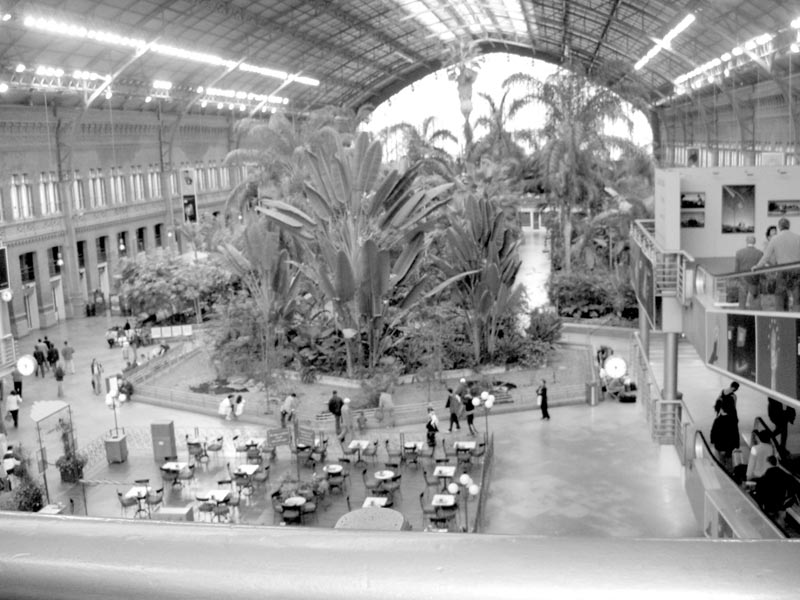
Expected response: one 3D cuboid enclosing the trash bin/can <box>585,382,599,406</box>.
[{"bbox_3d":[6.547,3.249,22.174,0.374,0.814,0.529,-5,10,-34],"label":"trash bin/can"}]
